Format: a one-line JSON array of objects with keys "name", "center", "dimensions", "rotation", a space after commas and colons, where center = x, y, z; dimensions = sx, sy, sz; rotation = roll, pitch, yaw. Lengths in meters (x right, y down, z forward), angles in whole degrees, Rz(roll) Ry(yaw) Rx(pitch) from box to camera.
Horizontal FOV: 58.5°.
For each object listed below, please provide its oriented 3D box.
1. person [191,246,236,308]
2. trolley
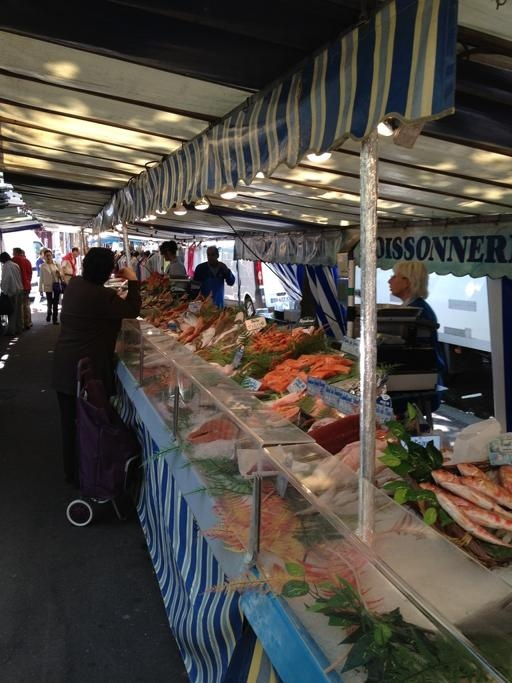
[{"name": "person", "center": [-0.628, -0.925, 6.506], "dimensions": [0.614, 0.831, 0.503], "rotation": [-1, 8, -27]}, {"name": "trolley", "center": [-1.000, 0.676, 3.034], "dimensions": [0.544, 1.041, 0.402], "rotation": [3, 7, 4]}]
